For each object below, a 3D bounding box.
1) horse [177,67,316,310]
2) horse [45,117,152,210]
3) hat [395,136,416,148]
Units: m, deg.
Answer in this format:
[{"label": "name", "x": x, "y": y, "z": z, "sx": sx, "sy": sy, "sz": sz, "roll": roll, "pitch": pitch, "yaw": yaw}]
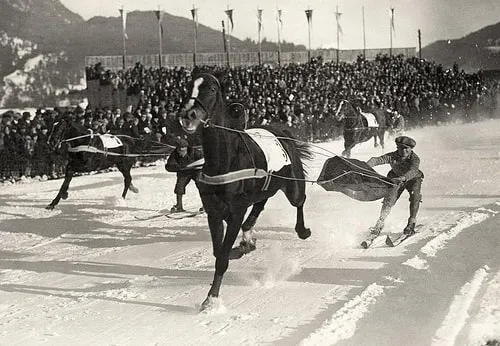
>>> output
[{"label": "horse", "x": -0.034, "y": 0.013, "z": 10.462, "sx": 1.300, "sy": 3.313, "sz": 3.102, "roll": 1, "pitch": 15, "yaw": 15}, {"label": "horse", "x": -3.655, "y": -0.271, "z": 16.387, "sx": 0.721, "sy": 2.113, "sz": 3.634, "roll": 3, "pitch": 5, "yaw": 25}, {"label": "hat", "x": 2.820, "y": -0.572, "z": 12.174, "sx": 0.342, "sy": 0.255, "sz": 0.478, "roll": 0, "pitch": 14, "yaw": 9}]
